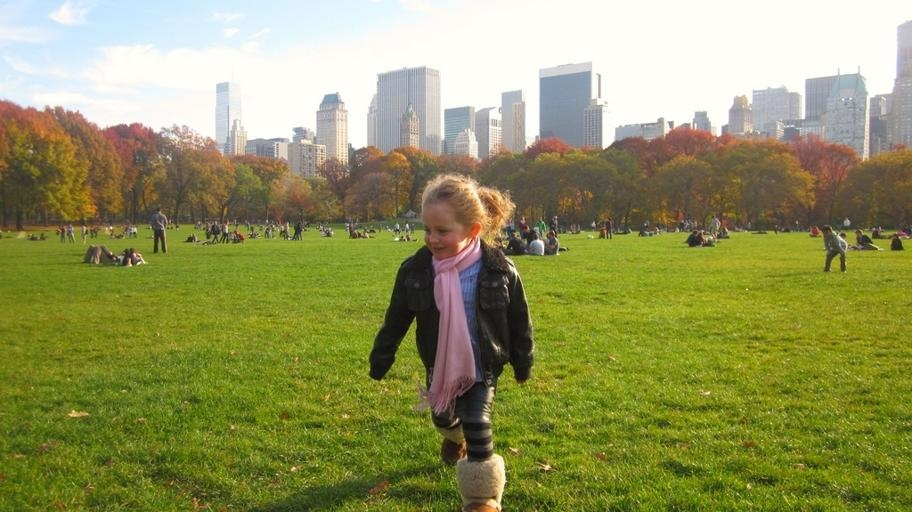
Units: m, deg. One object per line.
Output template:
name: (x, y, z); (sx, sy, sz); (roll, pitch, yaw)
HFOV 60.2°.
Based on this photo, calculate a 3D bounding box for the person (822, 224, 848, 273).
person: (13.981, -0.306, 29.230); (0.823, 1.650, 1.371); (3, 4, 25)
